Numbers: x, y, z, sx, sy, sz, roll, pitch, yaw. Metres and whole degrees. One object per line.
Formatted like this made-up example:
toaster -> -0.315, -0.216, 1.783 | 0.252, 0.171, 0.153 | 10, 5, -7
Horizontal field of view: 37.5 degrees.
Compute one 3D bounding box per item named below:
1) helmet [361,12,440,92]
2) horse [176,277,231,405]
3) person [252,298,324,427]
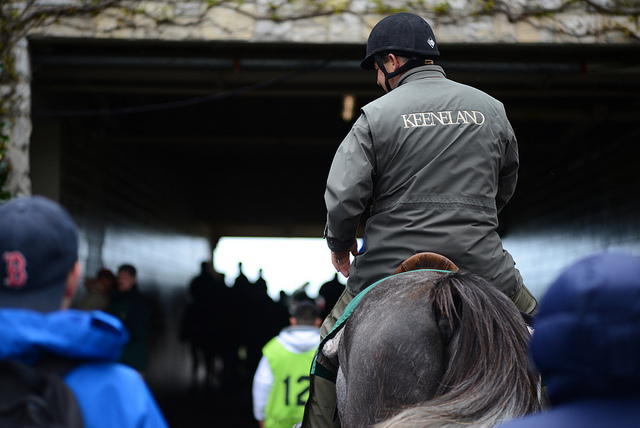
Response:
helmet -> 0.617, -1.279, 7.304 | 0.572, 0.597, 0.493 | 4, 4, 26
horse -> -1.764, 1.768, 14.430 | 0.775, 2.036, 0.634 | -5, 16, -34
person -> -0.334, 1.391, 9.347 | 0.572, 1.380, 1.857 | 8, -15, 0
